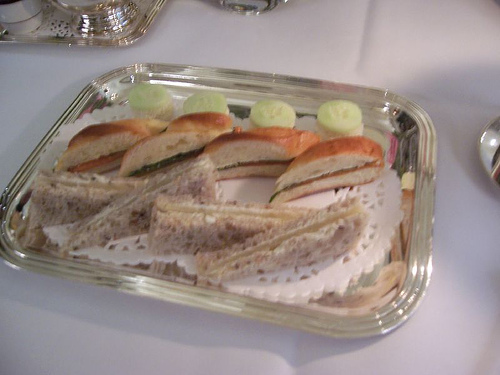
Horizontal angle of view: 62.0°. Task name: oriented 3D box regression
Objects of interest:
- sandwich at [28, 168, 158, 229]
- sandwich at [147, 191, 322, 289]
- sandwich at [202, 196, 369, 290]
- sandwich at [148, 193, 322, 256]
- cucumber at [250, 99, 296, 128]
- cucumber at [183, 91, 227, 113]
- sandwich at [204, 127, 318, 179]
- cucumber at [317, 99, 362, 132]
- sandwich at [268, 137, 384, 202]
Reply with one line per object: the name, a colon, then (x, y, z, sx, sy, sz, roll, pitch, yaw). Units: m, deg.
sandwich: (-0.295, 0.017, 0.776, 0.183, 0.050, 0.103, -31, 54, -18)
sandwich: (-0.046, 0.070, 0.710, 0.209, 0.072, 0.172, 12, 36, 21)
sandwich: (0.051, 0.118, 0.764, 0.361, 0.101, 0.108, -20, 52, 2)
sandwich: (-0.014, 0.085, 0.771, 0.317, 0.086, 0.114, 1, 44, 2)
cucumber: (0.041, -0.152, 0.830, 0.085, 0.087, 0.022, -14, 61, 16)
cucumber: (-0.088, -0.170, 0.845, 0.056, 0.015, 0.057, -6, 44, 4)
sandwich: (-0.017, -0.054, 0.806, 0.222, 0.080, 0.068, -8, -2, -37)
cucumber: (0.175, -0.127, 0.813, 0.089, 0.023, 0.101, -9, 47, -1)
sandwich: (0.156, -0.042, 0.783, 0.244, 0.088, 0.077, -17, 27, -17)
